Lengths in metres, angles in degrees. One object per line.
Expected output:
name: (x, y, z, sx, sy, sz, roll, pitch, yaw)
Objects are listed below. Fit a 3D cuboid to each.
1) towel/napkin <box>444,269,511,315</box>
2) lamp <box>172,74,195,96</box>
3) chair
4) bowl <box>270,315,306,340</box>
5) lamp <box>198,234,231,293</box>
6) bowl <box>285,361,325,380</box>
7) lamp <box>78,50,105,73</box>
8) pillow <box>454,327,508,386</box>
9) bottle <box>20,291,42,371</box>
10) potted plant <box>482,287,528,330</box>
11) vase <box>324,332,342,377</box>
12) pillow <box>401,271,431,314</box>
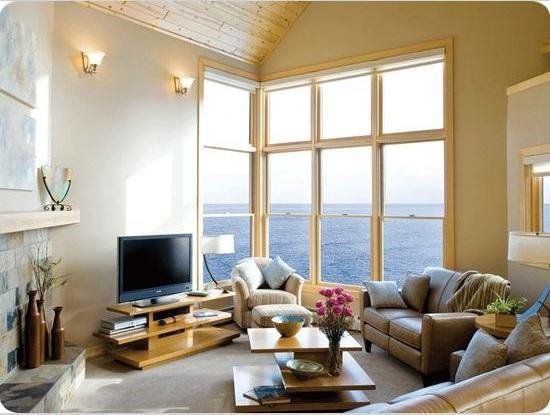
towel/napkin: (2.133, 0.924, 4.349, 0.240, 0.491, 0.512, 33, -10, -34)
lamp: (-1.282, -1.679, 5.675, 0.267, 0.222, 0.269, 1, 3, 18)
chair: (-0.067, 1.202, 5.753, 1.157, 0.938, 0.954, 3, -17, -10)
bowl: (0.120, 1.232, 4.232, 0.389, 0.146, 0.363, 0, -8, 0)
lamp: (-0.820, 0.814, 5.886, 0.457, 0.767, 0.941, -2, -1, -9)
bowl: (0.268, 1.466, 3.728, 0.347, 0.146, 0.253, -2, -1, 6)
lamp: (-2.124, -1.693, 4.753, 0.219, 0.228, 0.172, -3, -1, 40)
pillow: (1.511, 1.081, 3.007, 0.260, 0.410, 0.475, 13, -1, 8)
bottle: (-2.256, 1.123, 3.771, 0.146, 0.646, 0.108, -2, 0, -8)
potted plant: (2.155, 0.930, 3.842, 0.366, 0.240, 0.335, -1, -4, 16)
vase: (0.547, 1.311, 3.761, 0.142, 0.397, 0.207, -2, 0, 6)
pillow: (1.703, 1.040, 4.951, 0.215, 0.338, 0.452, -5, -7, -15)
